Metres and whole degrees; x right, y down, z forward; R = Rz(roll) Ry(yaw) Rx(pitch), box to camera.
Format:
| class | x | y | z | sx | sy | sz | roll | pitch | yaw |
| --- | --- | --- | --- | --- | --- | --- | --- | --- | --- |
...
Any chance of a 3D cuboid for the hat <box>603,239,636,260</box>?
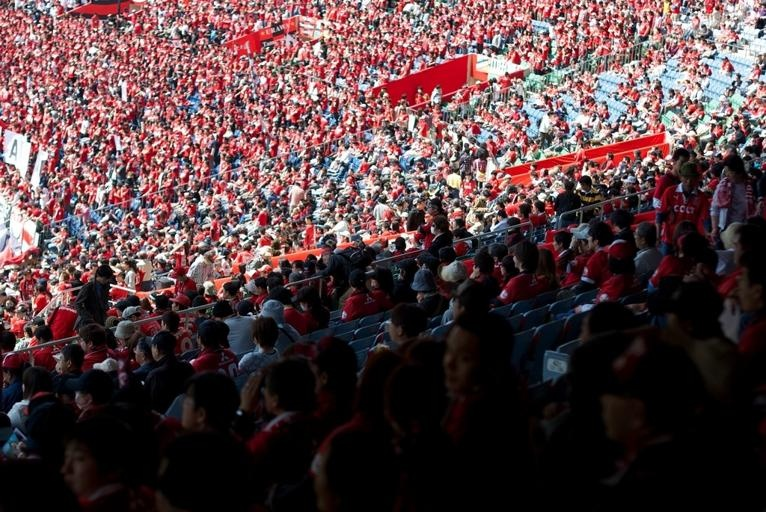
| class | x | y | z | sx | sy | sz | roll | pitch | yaw |
| --- | --- | --- | --- | --- | --- | --- | --- | --- | --- |
| hat | 2.046 | -0.055 | 7.131 | 0.219 | 0.166 | 0.379 | -9 | 18 | 14 |

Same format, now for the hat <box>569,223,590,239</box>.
| class | x | y | z | sx | sy | sz | roll | pitch | yaw |
| --- | --- | --- | --- | --- | --- | --- | --- | --- | --- |
| hat | 2.132 | -0.265 | 8.948 | 0.177 | 0.097 | 0.129 | 17 | 26 | -7 |

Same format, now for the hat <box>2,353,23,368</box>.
| class | x | y | z | sx | sy | sz | roll | pitch | yaw |
| --- | --- | --- | --- | --- | --- | --- | --- | --- | --- |
| hat | -3.019 | 0.847 | 6.769 | 0.129 | 0.106 | 0.275 | -19 | 19 | -18 |

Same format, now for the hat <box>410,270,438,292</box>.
| class | x | y | z | sx | sy | sz | roll | pitch | yaw |
| --- | --- | --- | --- | --- | --- | --- | --- | --- | --- |
| hat | 0.372 | 0.243 | 7.450 | 0.182 | 0.121 | 0.211 | 4 | 13 | 19 |

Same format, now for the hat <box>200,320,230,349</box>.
| class | x | y | z | sx | sy | sz | roll | pitch | yaw |
| --- | --- | --- | --- | --- | --- | --- | --- | --- | --- |
| hat | -1.257 | 0.572 | 6.212 | 0.164 | 0.212 | 0.213 | -1 | 12 | -11 |
